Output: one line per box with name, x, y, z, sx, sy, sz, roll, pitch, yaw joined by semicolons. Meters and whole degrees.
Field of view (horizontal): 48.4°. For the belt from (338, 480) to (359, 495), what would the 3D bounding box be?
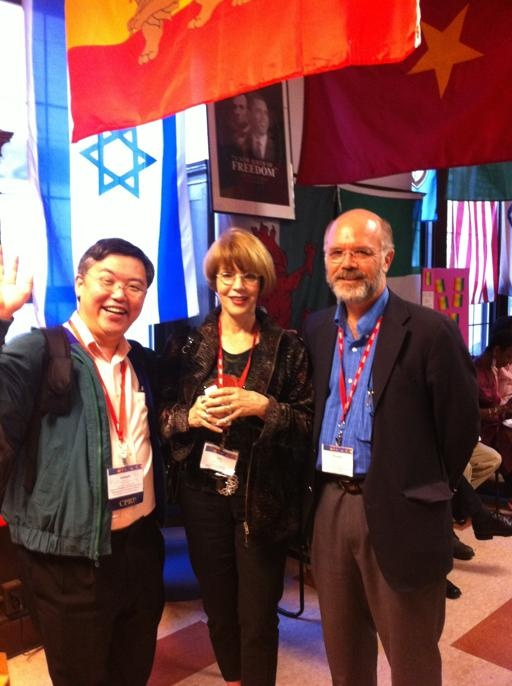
belt;0.289;0.435;1.734;0.034;0.020;0.049;11;-4;-25
